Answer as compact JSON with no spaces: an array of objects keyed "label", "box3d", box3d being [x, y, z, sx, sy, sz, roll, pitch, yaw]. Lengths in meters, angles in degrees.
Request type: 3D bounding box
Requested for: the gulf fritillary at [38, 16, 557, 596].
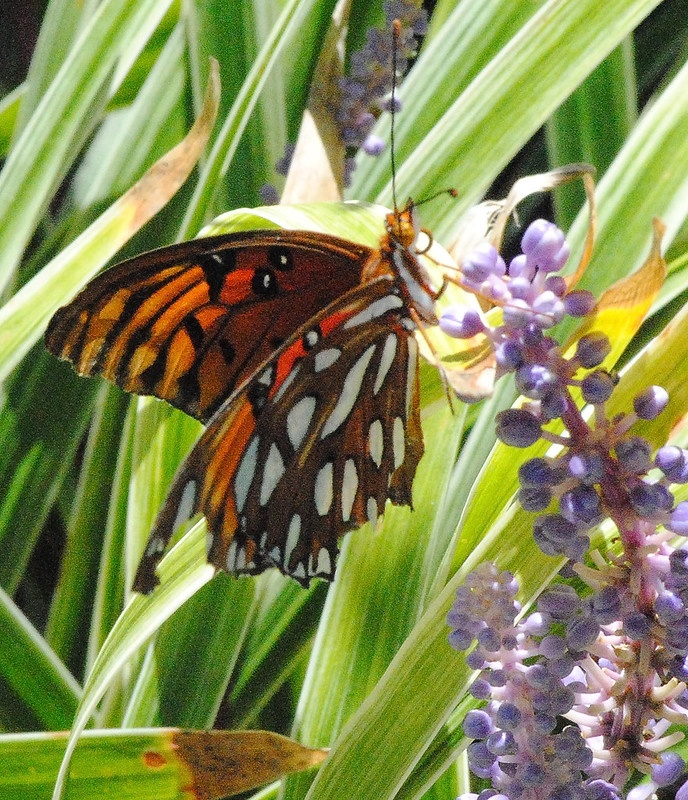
[{"label":"gulf fritillary","box3d":[-0.014,-0.095,1.251,0.312,0.475,0.545,-11,-4,28]}]
